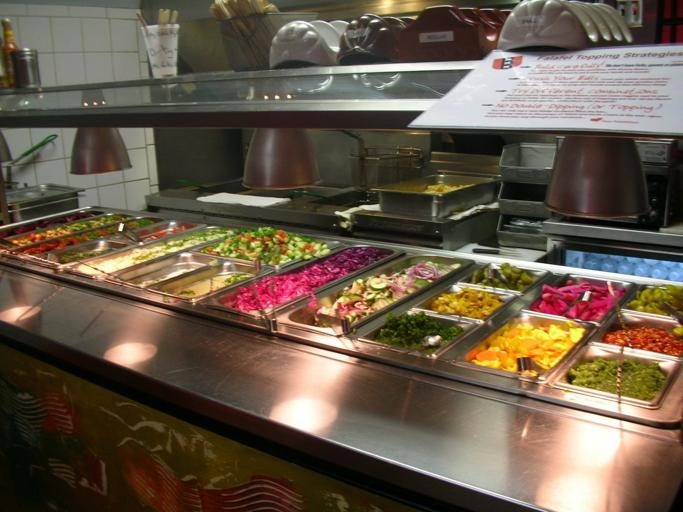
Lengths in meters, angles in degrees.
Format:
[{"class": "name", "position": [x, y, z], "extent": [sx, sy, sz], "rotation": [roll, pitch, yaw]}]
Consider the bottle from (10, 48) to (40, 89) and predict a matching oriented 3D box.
[{"class": "bottle", "position": [-1.439, -0.859, 2.364], "extent": [0.122, 0.186, 0.245], "rotation": [-13, 19, -24]}]

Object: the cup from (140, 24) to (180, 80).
[{"class": "cup", "position": [-0.643, -0.748, 1.879], "extent": [0.110, 0.168, 0.063], "rotation": [-7, 20, -6]}]

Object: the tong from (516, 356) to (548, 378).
[{"class": "tong", "position": [0.543, 0.319, 1.490], "extent": [0.065, 0.011, 0.054], "rotation": [11, 23, 13]}]

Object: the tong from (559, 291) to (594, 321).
[{"class": "tong", "position": [0.822, 0.177, 1.802], "extent": [0.196, 0.047, 0.057], "rotation": [-22, -14, -32]}]
